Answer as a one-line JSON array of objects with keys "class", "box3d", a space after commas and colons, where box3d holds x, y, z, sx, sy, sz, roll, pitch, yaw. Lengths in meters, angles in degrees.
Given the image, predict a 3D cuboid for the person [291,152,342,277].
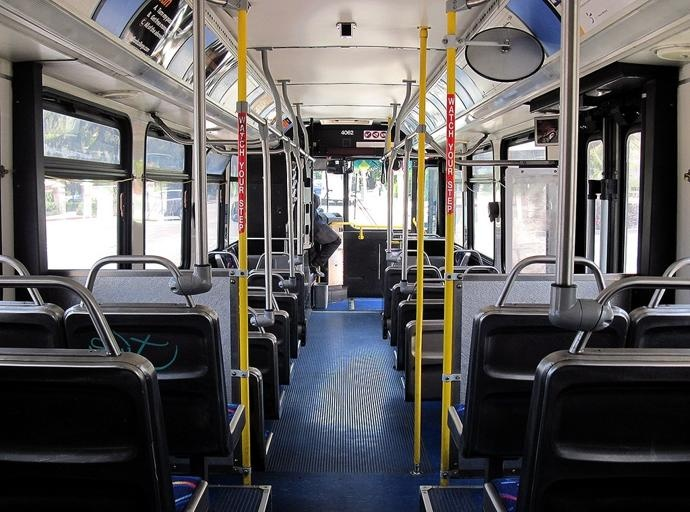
[{"class": "person", "box3d": [-0.476, -0.480, 10.180, 0.804, 1.713, 0.595, 9, -17, -24]}]
